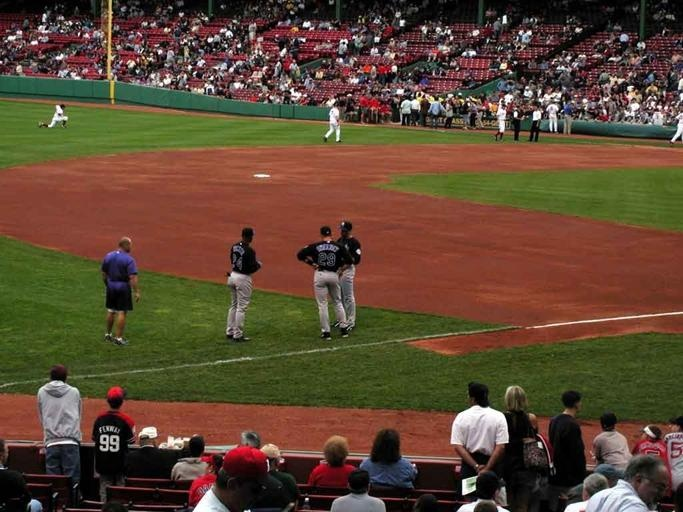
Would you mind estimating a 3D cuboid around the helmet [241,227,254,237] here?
[{"bbox_3d":[-2.370,-0.556,34.016,0.280,0.264,0.304,3,11,7],"label":"helmet"}]

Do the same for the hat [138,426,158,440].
[{"bbox_3d":[-4.061,3.740,29.087,0.492,0.191,0.614,0,6,-8],"label":"hat"}]

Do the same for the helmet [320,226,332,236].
[{"bbox_3d":[-0.421,-0.586,34.216,0.250,0.246,0.277,0,13,-3],"label":"helmet"}]

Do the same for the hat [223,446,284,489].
[{"bbox_3d":[-1.658,3.820,25.053,0.914,0.436,0.560,9,13,3],"label":"hat"}]

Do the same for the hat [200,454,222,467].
[{"bbox_3d":[-2.554,4.049,27.096,0.535,0.143,0.383,8,2,42],"label":"hat"}]

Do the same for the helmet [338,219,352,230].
[{"bbox_3d":[0.077,-0.687,34.760,0.332,0.181,0.387,1,20,-12],"label":"helmet"}]

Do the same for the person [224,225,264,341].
[{"bbox_3d":[-2.478,0.730,34.129,0.799,2.796,0.441,2,3,9],"label":"person"}]

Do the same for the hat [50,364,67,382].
[{"bbox_3d":[-5.934,2.477,29.159,0.341,0.338,0.380,2,14,-14],"label":"hat"}]

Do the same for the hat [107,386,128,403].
[{"bbox_3d":[-4.697,2.898,28.980,0.394,0.398,0.414,3,36,-10],"label":"hat"}]

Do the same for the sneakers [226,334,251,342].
[{"bbox_3d":[-2.543,2.053,34.205,0.608,0.197,0.182,1,15,5],"label":"sneakers"}]

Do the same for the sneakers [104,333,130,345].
[{"bbox_3d":[-5.450,2.054,34.012,0.755,0.254,0.227,8,7,7],"label":"sneakers"}]

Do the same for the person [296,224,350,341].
[{"bbox_3d":[-0.402,0.693,34.369,1.220,2.790,0.547,1,3,-3],"label":"person"}]
